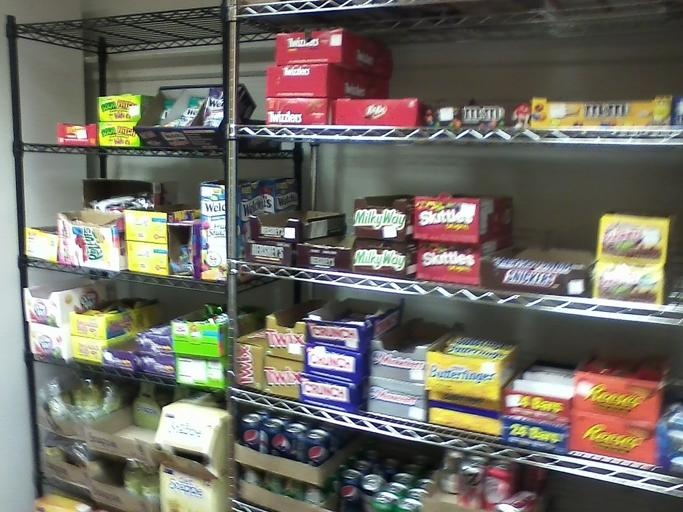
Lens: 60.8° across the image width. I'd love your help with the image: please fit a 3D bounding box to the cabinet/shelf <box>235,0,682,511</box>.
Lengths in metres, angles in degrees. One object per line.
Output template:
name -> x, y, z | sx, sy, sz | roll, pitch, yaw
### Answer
cabinet/shelf -> 0.527, 0.051, 2.269 | 1.546, 2.031, 0.746 | 2, 11, 21
